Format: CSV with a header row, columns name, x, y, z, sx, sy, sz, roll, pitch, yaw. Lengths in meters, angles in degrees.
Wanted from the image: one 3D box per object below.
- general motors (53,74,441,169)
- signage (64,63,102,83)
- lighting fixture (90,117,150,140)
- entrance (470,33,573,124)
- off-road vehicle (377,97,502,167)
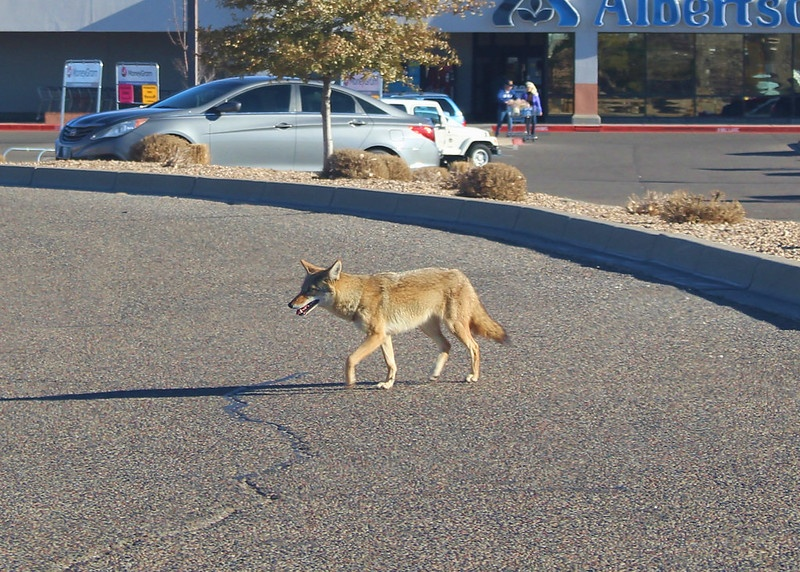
name,x,y,z,sx,sy,sz,roll,pitch,yaw
general motors,-2.464,-2.633,17.248,5.961,1.050,1.962,0,3,-15
signage,-6.688,-4.396,22.510,0.828,0.354,0.097,2,1,21
lighting fixture,-4.270,-2.339,16.267,0.826,0.297,0.213,-2,13,-10
entrance,4.472,-7.521,38.800,5.344,3.270,0.388,-13,20,-38
off-road vehicle,1.057,-2.980,21.351,3.764,1.063,1.628,-3,18,-7
